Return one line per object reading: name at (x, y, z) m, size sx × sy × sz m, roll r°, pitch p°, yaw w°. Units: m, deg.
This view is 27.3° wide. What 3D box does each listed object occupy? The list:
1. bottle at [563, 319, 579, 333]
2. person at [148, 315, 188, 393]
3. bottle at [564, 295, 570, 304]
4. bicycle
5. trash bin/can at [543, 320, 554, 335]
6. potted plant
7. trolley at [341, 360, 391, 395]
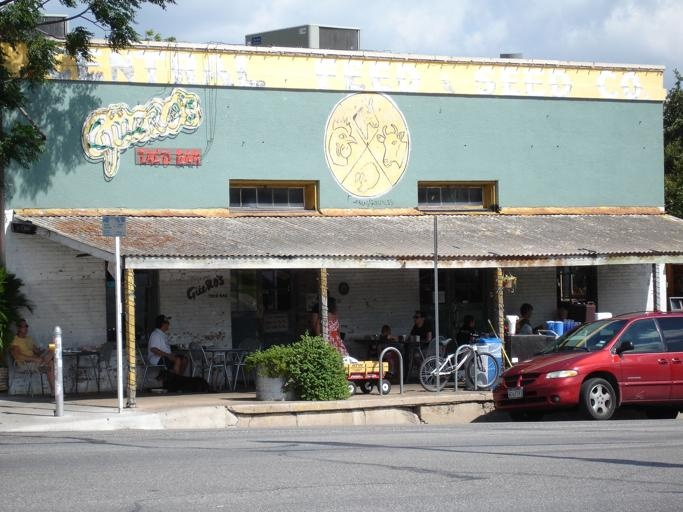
bottle at (5.190, 1.531, 31.666) m, size 0.144 × 0.267 × 0.267 m, roll -2°, pitch -3°, yaw 42°
person at (-3.896, 2.102, 31.256) m, size 0.806 × 1.635 × 0.658 m, roll 2°, pitch -6°, yaw -23°
bottle at (5.774, 1.079, 35.782) m, size 0.154 × 0.172 × 0.166 m, roll 0°, pitch 0°, yaw 4°
bicycle at (2.625, 2.390, 30.849) m, size 1.684 × 1.031 × 0.862 m, roll -3°, pitch -1°, yaw -6°
trash bin/can at (4.917, 1.622, 32.701) m, size 0.267 × 0.402 × 0.273 m, roll 3°, pitch -7°, yaw -14°
potted plant at (-0.975, 2.197, 29.290) m, size 1.332 × 1.195 × 1.544 m, roll 2°, pitch -3°, yaw -41°
trolley at (0.532, 2.579, 30.498) m, size 1.061 × 0.693 × 0.812 m, roll -3°, pitch 2°, yaw -1°
